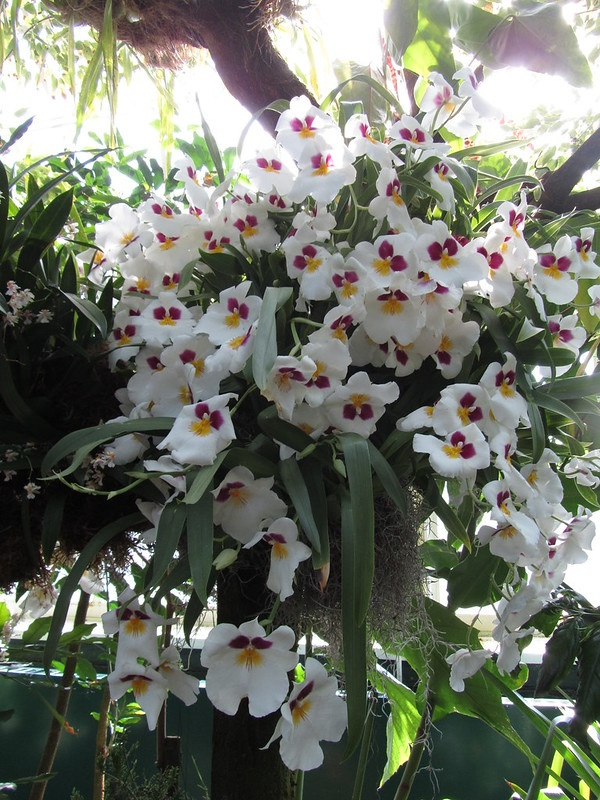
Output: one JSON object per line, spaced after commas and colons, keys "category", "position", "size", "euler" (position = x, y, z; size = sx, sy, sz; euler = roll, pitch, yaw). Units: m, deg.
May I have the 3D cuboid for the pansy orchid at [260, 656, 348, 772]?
{"category": "pansy orchid", "position": [0.011, 0.262, 0.498], "size": [0.058, 0.081, 0.064], "euler": [3, -32, 2]}

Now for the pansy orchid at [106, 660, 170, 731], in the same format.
{"category": "pansy orchid", "position": [-0.147, 0.263, 0.544], "size": [0.057, 0.026, 0.087], "euler": [14, -53, 1]}
